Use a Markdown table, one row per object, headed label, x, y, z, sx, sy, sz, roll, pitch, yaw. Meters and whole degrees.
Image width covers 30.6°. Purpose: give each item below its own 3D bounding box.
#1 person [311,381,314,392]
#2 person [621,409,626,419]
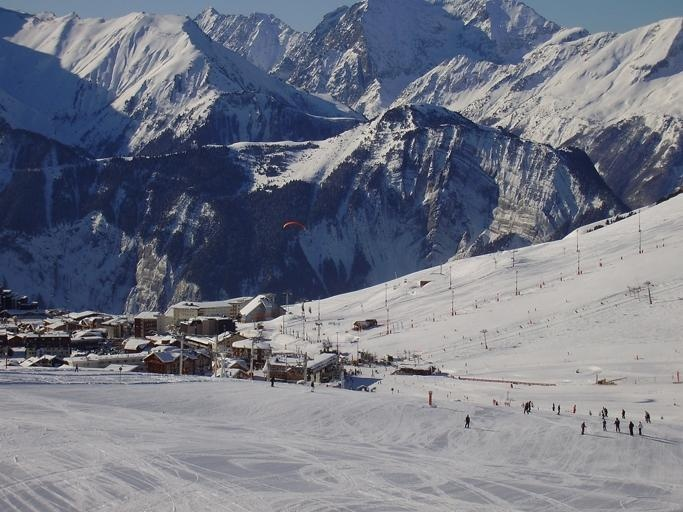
| label | x | y | z | sx | sy | sz | roll | pitch | yaw |
| --- | --- | --- | --- | --- | --- | --- | --- | --- | --- |
| person | -7.908 | 34.026 | 324.816 | 0.775 | 2.225 | 0.705 | -2 | -2 | 31 |
| person | 72.594 | 40.247 | 320.449 | 0.656 | 2.579 | 0.803 | 1 | -40 | 7 |
